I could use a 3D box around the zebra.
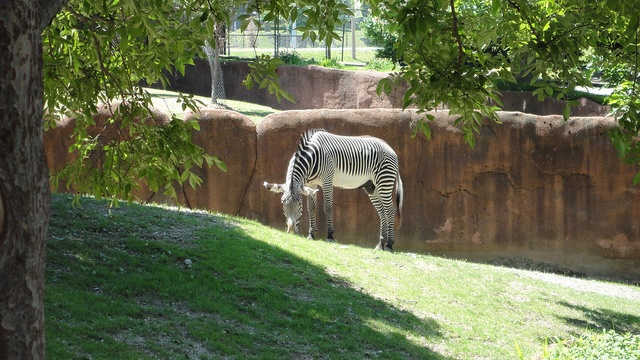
[{"bbox_3d":[0.545,0.185,21.357,4.670,3.117,1.408,-2,0,-41],"label":"zebra"}]
